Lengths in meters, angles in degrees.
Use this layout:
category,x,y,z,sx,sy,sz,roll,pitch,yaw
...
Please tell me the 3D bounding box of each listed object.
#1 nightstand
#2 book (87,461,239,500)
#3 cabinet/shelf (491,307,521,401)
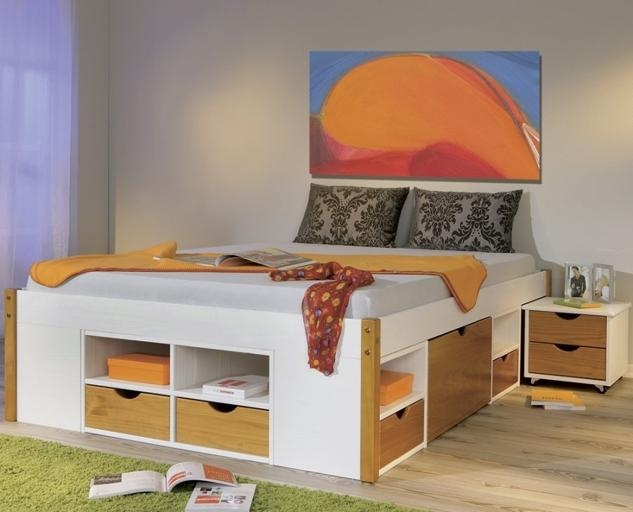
category,x,y,z,sx,sy,sz,roll,pitch,yaw
nightstand,1.484,0.464,3.215,0.498,0.438,0.508,1,1,31
book,-0.521,0.737,1.814,0.326,0.057,0.171,4,-2,-10
cabinet/shelf,1.010,0.534,2.986,0.159,0.433,0.462,1,4,34
